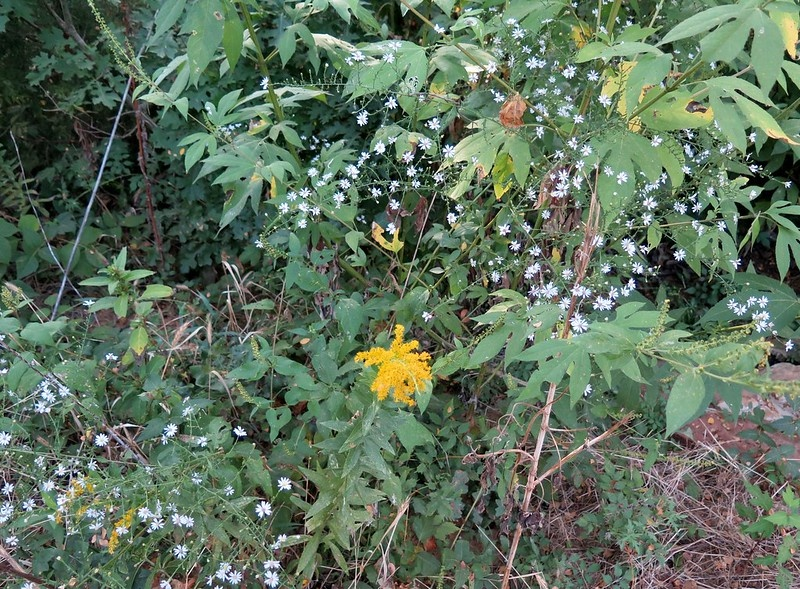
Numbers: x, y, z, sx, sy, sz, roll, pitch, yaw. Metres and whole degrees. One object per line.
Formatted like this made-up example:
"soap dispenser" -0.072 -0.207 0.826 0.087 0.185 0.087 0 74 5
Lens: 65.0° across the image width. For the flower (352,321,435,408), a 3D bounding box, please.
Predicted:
"flower" -0.019 0.245 2.493 0.259 0.200 0.344 10 64 -11
